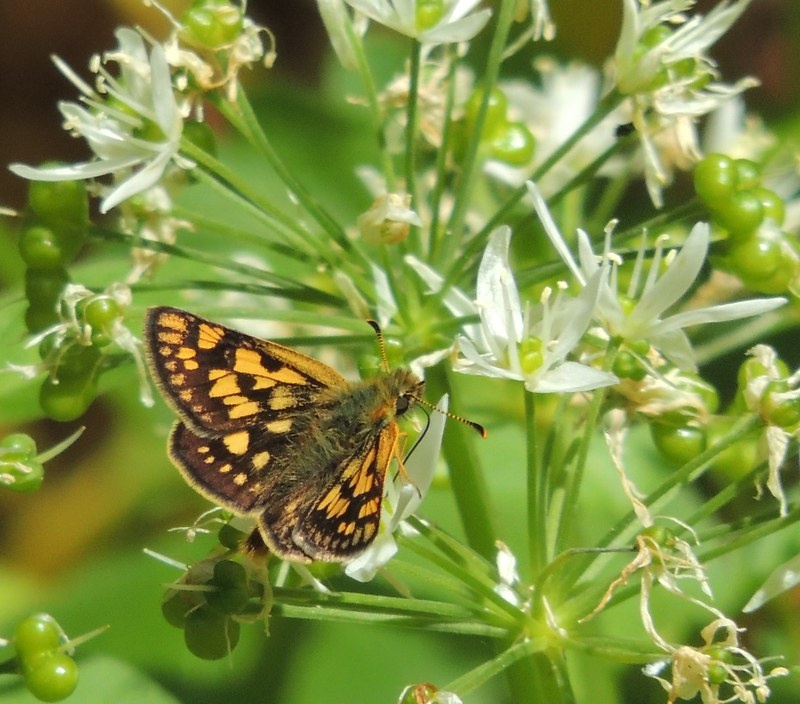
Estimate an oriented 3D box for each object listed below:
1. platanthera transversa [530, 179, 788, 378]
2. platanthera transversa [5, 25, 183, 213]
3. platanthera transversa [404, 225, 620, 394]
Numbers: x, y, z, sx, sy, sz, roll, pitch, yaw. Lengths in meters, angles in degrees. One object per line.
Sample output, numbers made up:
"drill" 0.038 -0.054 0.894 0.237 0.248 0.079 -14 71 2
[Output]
"platanthera transversa" 0.324 -0.082 1.292 0.301 0.324 0.139 10 81 13
"platanthera transversa" -0.422 -0.405 1.387 0.256 0.276 0.133 -14 87 6
"platanthera transversa" 0.169 -0.012 1.231 0.231 0.133 0.238 34 49 24
